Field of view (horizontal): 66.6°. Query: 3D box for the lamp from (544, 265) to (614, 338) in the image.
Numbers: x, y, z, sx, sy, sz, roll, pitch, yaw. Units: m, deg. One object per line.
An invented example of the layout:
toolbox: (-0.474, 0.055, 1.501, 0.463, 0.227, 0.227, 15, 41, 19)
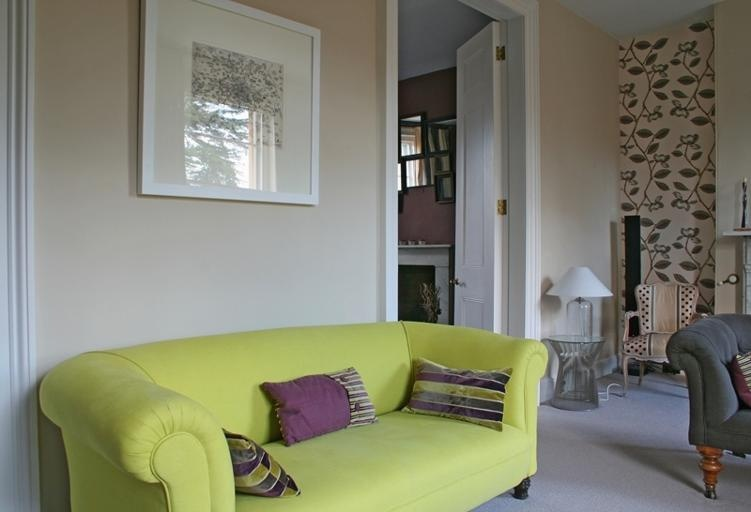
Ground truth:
lamp: (1.782, 0.404, 4.946, 0.492, 0.630, 0.577, 5, 9, 37)

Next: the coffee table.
coffee table: (1.523, 0.943, 4.770, 0.528, 0.609, 0.533, 0, 2, 3)
